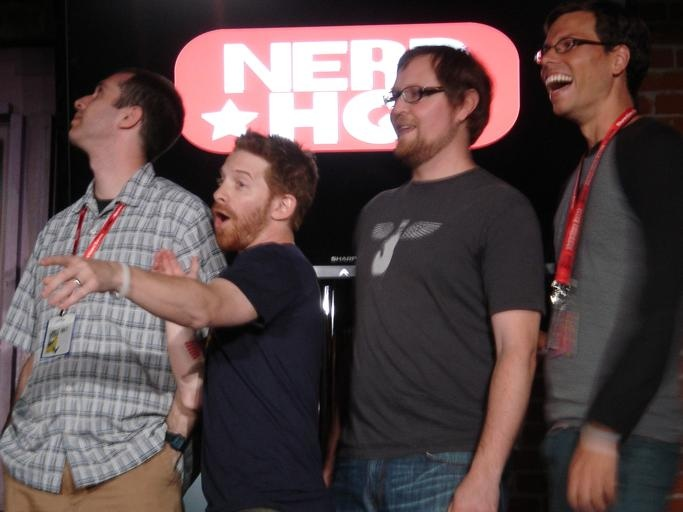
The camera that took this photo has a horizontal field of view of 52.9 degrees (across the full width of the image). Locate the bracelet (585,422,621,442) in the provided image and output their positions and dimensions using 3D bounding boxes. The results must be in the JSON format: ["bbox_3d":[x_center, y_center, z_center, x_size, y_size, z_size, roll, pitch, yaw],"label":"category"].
[{"bbox_3d":[0.765,0.514,2.034,0.063,0.071,0.068,6,2,27],"label":"bracelet"}]

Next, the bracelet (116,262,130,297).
[{"bbox_3d":[-0.574,0.067,1.829,0.037,0.087,0.046,0,12,-2],"label":"bracelet"}]

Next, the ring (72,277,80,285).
[{"bbox_3d":[-0.692,0.066,1.798,0.005,0.018,0.018,-37,57,-27],"label":"ring"}]

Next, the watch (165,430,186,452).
[{"bbox_3d":[-0.548,0.618,2.282,0.077,0.050,0.029,33,17,7],"label":"watch"}]
